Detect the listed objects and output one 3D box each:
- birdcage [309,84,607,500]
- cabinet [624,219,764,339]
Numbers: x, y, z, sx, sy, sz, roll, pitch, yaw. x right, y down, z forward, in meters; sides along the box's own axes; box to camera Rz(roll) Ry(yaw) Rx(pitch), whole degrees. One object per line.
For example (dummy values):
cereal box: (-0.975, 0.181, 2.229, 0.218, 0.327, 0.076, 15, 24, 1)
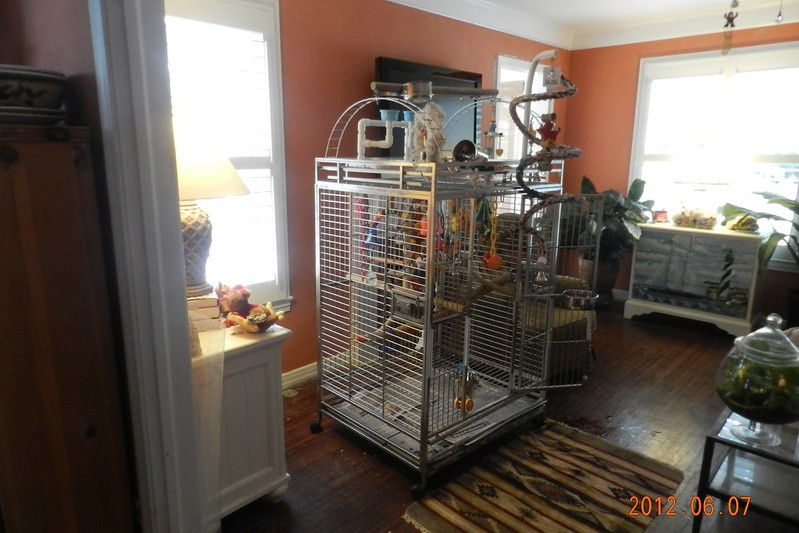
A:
birdcage: (0.317, -0.027, 3.881, 1.536, 2.123, 1.323, -5, 9, -34)
cabinet: (2.693, 0.230, 5.540, 1.116, 0.969, 0.658, 12, -15, 7)
